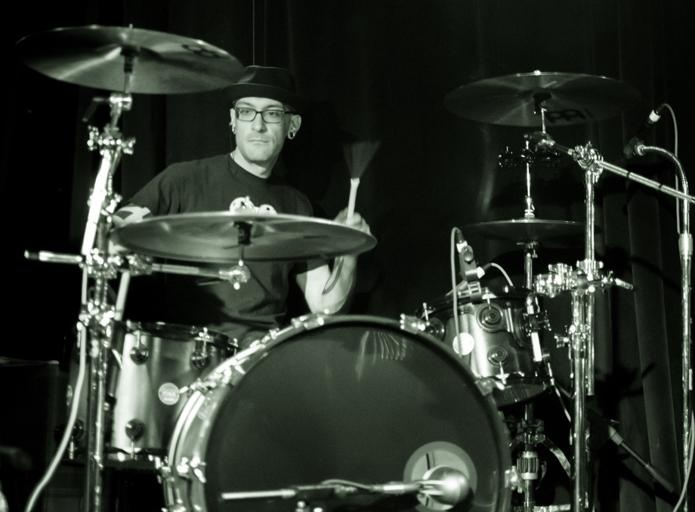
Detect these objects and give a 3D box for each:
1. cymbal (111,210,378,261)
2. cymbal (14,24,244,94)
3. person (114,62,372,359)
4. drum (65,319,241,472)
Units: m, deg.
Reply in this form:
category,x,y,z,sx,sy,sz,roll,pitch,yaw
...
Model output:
category,x,y,z,sx,sy,sz,roll,pitch,yaw
cymbal,-0.355,-0.069,4.184,0.675,0.110,0.727,6,7,8
cymbal,-0.788,-0.697,4.296,0.446,0.106,0.441,6,-19,-22
person,-0.435,-0.159,4.548,0.918,1.127,0.644,9,-17,-24
drum,-0.634,0.484,4.241,0.513,0.375,0.498,5,-18,2
